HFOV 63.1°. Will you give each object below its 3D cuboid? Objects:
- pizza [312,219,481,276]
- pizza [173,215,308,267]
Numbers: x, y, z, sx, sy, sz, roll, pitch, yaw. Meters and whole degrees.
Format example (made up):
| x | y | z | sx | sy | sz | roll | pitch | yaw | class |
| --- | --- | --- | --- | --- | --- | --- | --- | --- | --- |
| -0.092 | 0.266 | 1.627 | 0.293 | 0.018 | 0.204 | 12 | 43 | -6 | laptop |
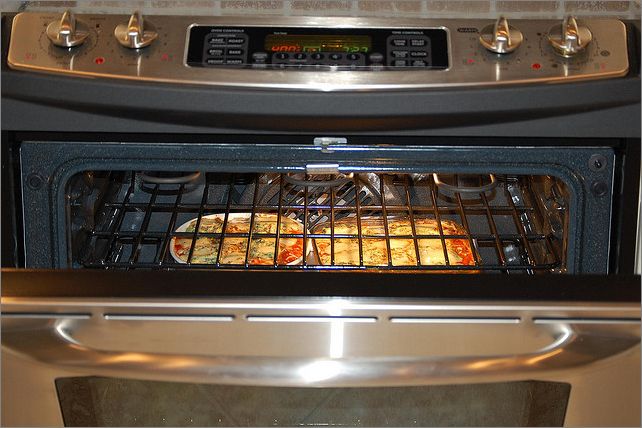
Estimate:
| x | y | z | sx | sy | sz | roll | pitch | yaw | class |
| --- | --- | --- | --- | --- | --- | --- | --- | --- | --- |
| 0.163 | 0.068 | 1.169 | 0.239 | 0.052 | 0.165 | -1 | 22 | -1 | pizza |
| -0.190 | 0.070 | 1.182 | 0.210 | 0.031 | 0.147 | 0 | 28 | 0 | pizza |
